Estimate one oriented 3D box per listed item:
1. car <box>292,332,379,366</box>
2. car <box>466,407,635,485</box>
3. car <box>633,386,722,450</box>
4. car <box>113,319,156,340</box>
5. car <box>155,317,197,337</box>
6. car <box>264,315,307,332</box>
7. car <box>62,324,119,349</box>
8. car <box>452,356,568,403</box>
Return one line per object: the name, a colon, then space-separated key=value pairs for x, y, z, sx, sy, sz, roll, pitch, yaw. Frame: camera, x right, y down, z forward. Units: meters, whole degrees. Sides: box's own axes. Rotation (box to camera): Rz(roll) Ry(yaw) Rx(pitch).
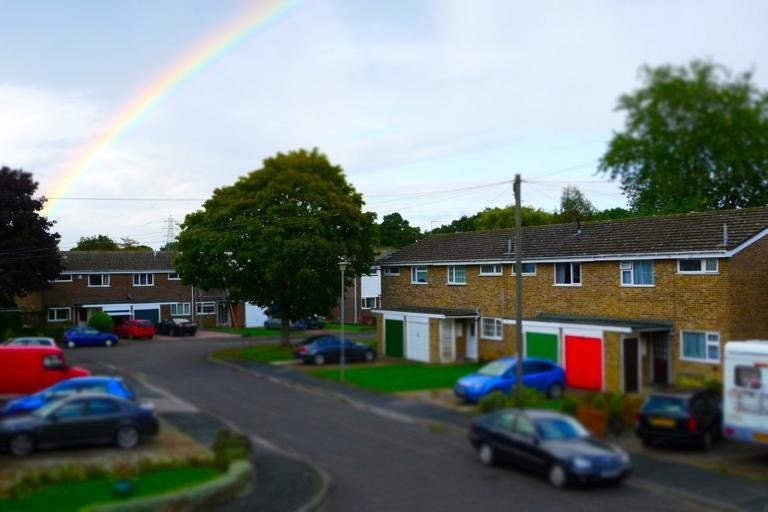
car: x=-3.059 y=5.839 z=44.973 sx=4.663 sy=1.671 sz=1.729 roll=3 pitch=-6 yaw=-26
car: x=5.452 y=6.891 z=25.939 sx=2.373 sy=1.626 sz=5.074 roll=1 pitch=-2 yaw=-37
car: x=11.611 y=6.360 z=28.285 sx=3.367 sy=2.259 sz=1.440 roll=1 pitch=-6 yaw=-13
car: x=-21.113 y=6.241 z=61.333 sx=1.598 sy=1.238 sz=3.466 roll=0 pitch=5 yaw=-42
car: x=-18.424 y=6.273 z=64.177 sx=3.492 sy=1.473 sz=1.335 roll=-4 pitch=-7 yaw=31
car: x=-9.952 y=6.742 z=72.150 sx=2.732 sy=1.119 sz=6.249 roll=4 pitch=-8 yaw=-39
car: x=-21.864 y=6.042 z=53.959 sx=3.443 sy=1.430 sz=1.407 roll=2 pitch=-6 yaw=-22
car: x=6.199 y=5.971 z=35.620 sx=4.987 sy=1.781 sz=2.294 roll=2 pitch=-4 yaw=-28
